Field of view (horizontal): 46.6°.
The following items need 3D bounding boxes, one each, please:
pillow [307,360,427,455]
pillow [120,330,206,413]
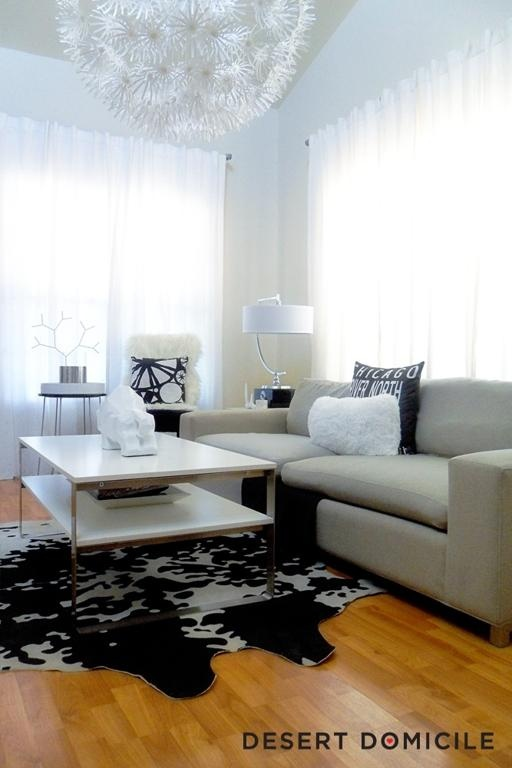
[{"bbox_3d":[0.512,0.124,2.669,0.155,0.409,0.430,17,-9,-25],"label":"pillow"},{"bbox_3d":[-0.679,-0.111,4.385,0.574,0.434,0.312,1,0,-9],"label":"pillow"}]
